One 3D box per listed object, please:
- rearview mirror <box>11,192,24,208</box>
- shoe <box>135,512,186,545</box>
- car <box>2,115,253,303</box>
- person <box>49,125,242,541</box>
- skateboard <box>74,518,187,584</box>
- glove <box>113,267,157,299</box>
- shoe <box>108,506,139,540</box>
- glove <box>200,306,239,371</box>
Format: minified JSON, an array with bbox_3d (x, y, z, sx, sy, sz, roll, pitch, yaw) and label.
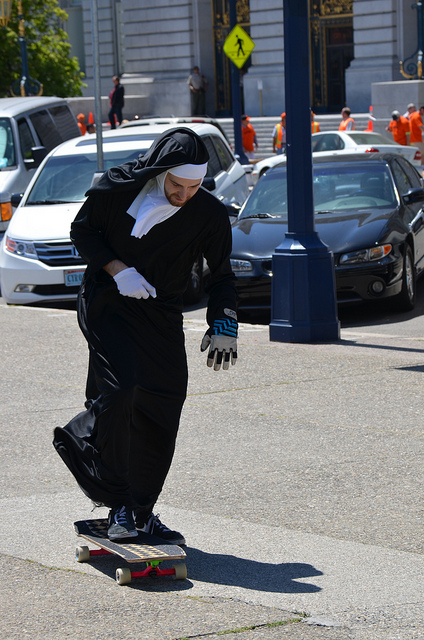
[{"bbox_3d":[-2.825,-1.760,12.144,0.218,0.250,0.274,3,7,2],"label":"rearview mirror"},{"bbox_3d":[-0.192,0.787,3.090,0.209,0.082,0.080,18,13,12],"label":"shoe"},{"bbox_3d":[-1.112,-1.772,11.967,2.286,1.877,4.082,1,10,24],"label":"car"},{"bbox_3d":[-0.229,0.054,3.074,0.678,1.511,0.468,-1,4,-10],"label":"person"},{"bbox_3d":[-0.304,0.820,2.953,0.233,0.140,0.579,-2,4,-30],"label":"skateboard"},{"bbox_3d":[-0.272,-0.129,2.936,0.148,0.113,0.141,0,4,-5],"label":"glove"},{"bbox_3d":[-0.319,0.727,2.960,0.101,0.086,0.181,0,4,-7],"label":"shoe"},{"bbox_3d":[0.027,0.076,3.220,0.135,0.258,0.186,0,4,0],"label":"glove"}]
